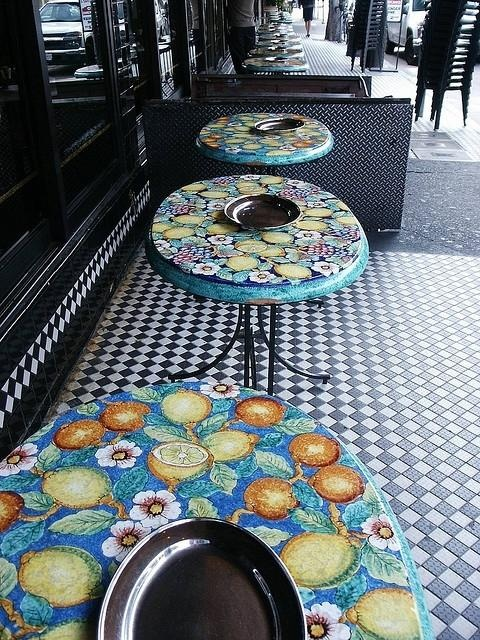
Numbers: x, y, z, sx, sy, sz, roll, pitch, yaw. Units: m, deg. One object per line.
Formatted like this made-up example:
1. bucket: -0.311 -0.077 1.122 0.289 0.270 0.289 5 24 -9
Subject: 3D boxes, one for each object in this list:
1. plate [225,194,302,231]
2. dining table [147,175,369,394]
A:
1. plate: 0.083 -0.433 1.955 0.219 0.035 0.214 -11 45 -14
2. dining table: 0.030 -0.100 2.165 0.931 0.838 0.970 -2 45 -5
